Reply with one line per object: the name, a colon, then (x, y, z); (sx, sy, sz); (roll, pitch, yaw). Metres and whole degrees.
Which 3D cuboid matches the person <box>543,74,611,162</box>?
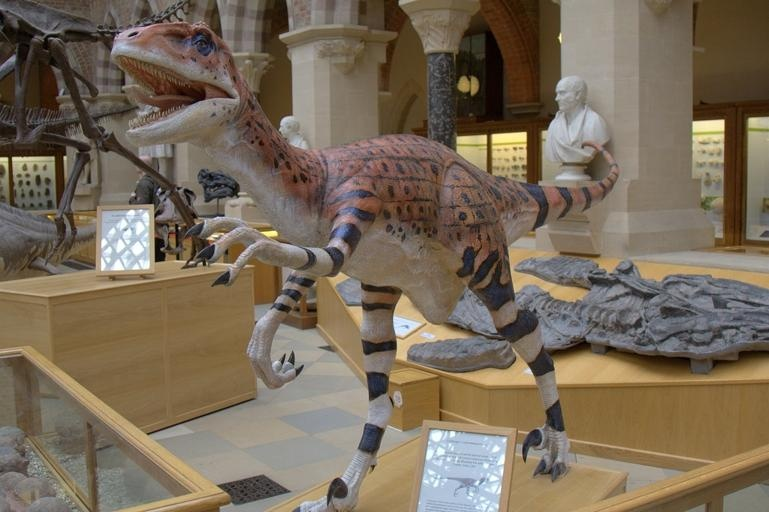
person: (2.184, -1.559, 6.425); (0.464, 0.982, 0.508); (-10, 13, -39)
